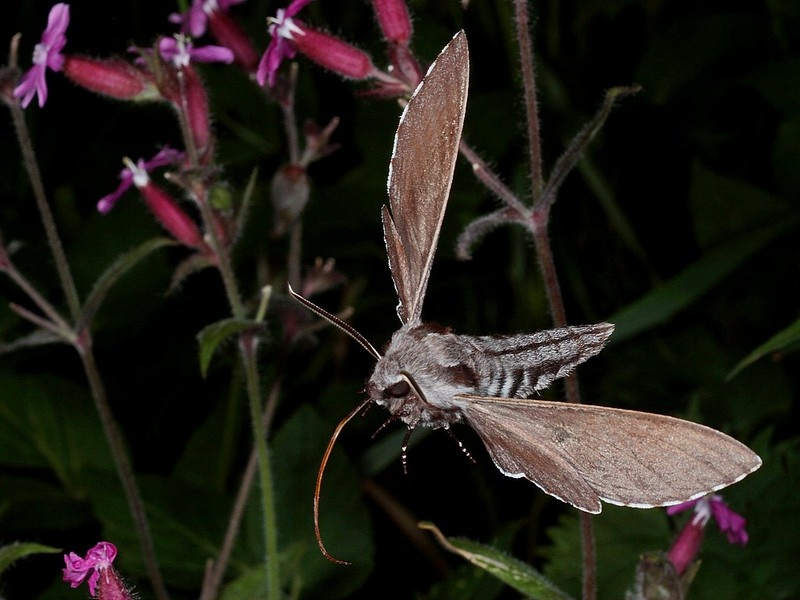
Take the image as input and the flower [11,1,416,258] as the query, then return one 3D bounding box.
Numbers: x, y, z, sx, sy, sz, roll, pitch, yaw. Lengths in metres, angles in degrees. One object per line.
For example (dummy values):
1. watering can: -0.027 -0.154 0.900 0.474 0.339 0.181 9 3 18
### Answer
1. flower: -0.361 -0.426 1.872 0.631 0.640 0.322 -7 13 -1
